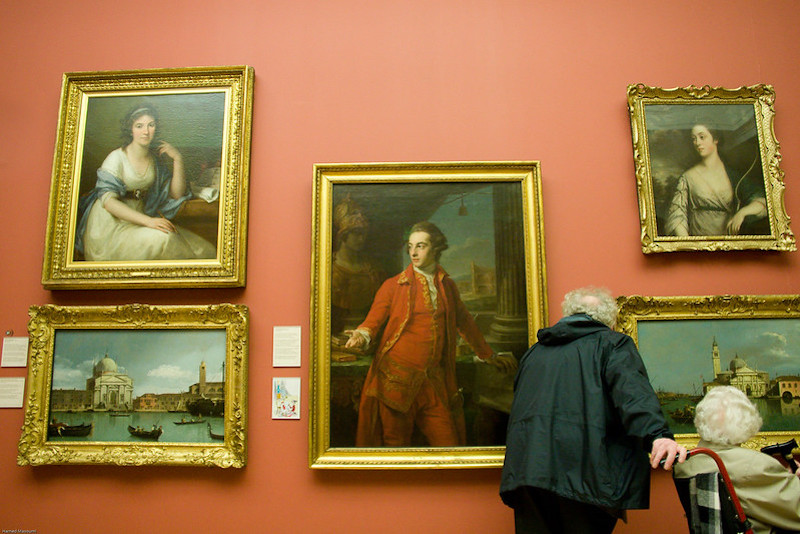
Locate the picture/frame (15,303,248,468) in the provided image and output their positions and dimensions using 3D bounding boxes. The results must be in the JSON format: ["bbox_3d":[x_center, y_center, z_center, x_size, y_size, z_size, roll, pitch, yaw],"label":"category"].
[{"bbox_3d":[-2.536,1.190,8.006,1.750,1.126,0.084,0,-7,0],"label":"picture/frame"}]

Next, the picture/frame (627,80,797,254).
[{"bbox_3d":[3.011,-0.912,8.144,1.816,1.730,0.139,-1,-10,0],"label":"picture/frame"}]
